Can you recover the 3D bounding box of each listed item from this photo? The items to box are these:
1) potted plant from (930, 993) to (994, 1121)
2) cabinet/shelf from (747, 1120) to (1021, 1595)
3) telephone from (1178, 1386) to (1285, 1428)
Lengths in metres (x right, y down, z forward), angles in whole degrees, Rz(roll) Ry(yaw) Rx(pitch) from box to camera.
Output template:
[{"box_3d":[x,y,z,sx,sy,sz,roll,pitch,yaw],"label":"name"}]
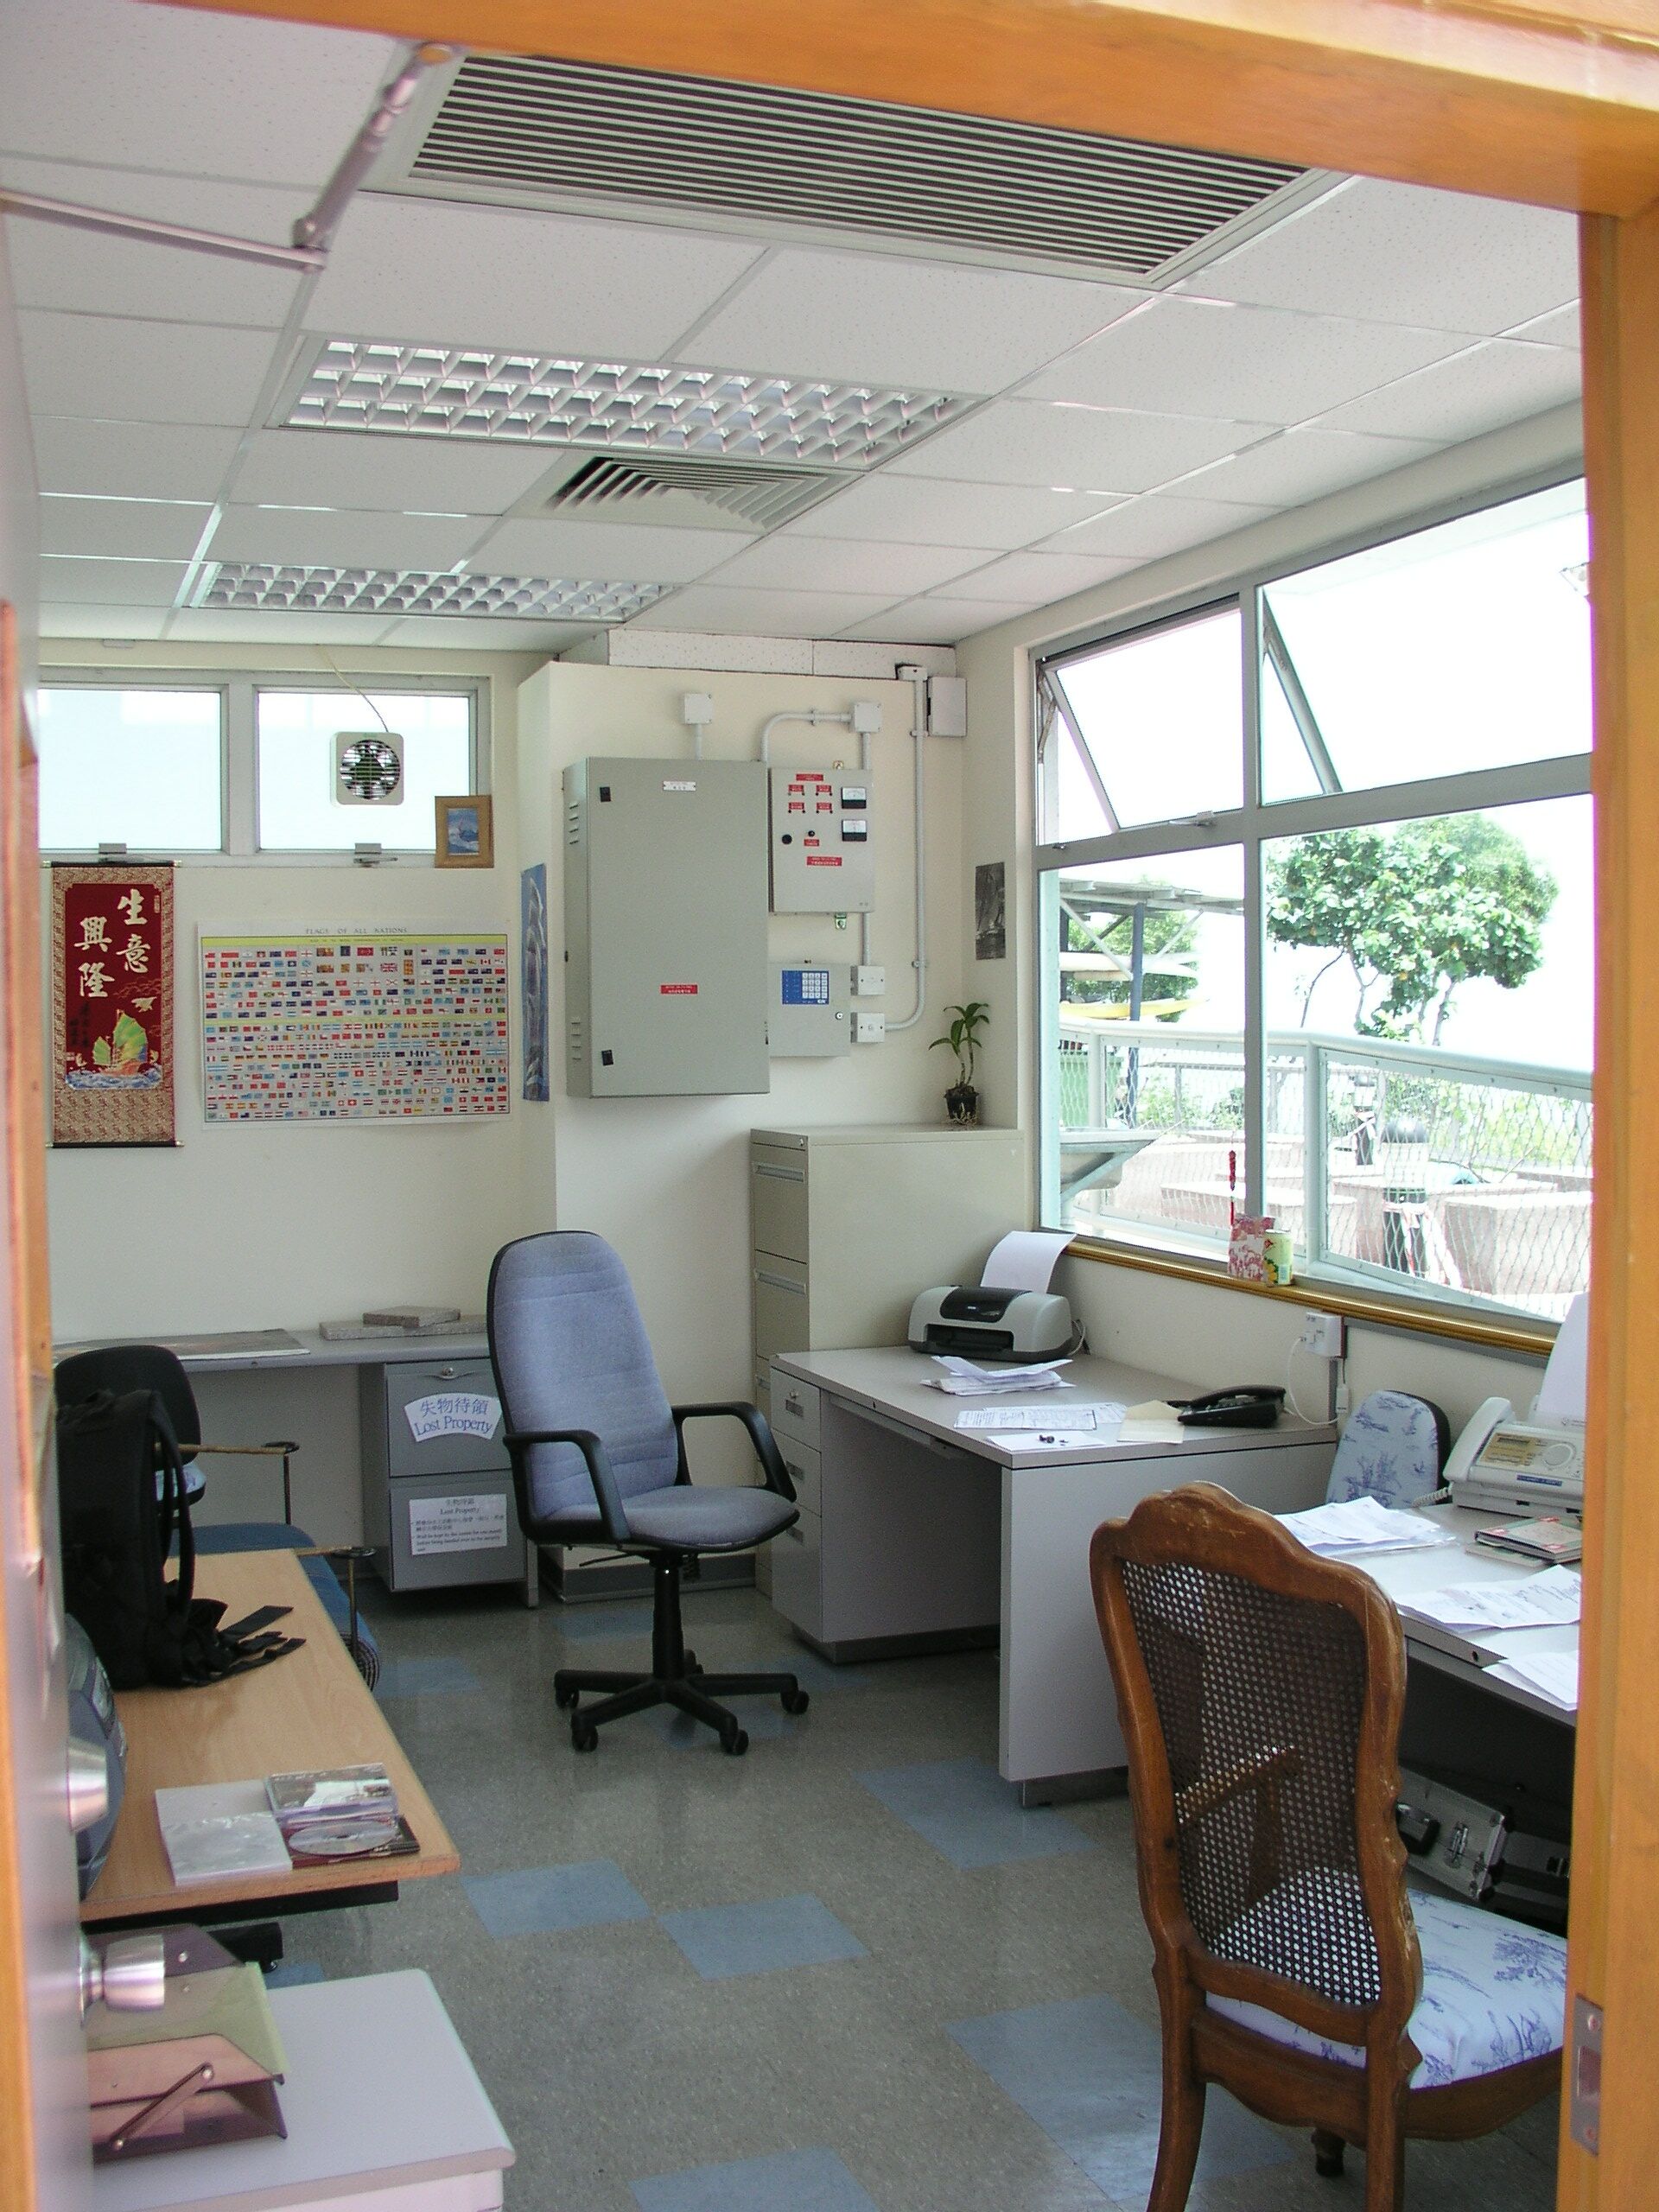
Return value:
[{"box_3d":[0.441,-0.160,5.707,0.129,0.431,0.232,0,0,-16],"label":"potted plant"},{"box_3d":[0.191,0.504,5.173,0.888,1.599,0.827,-1,4,-11],"label":"cabinet/shelf"},{"box_3d":[0.949,0.705,3.979,0.152,0.052,0.114,3,-1,2],"label":"telephone"}]
